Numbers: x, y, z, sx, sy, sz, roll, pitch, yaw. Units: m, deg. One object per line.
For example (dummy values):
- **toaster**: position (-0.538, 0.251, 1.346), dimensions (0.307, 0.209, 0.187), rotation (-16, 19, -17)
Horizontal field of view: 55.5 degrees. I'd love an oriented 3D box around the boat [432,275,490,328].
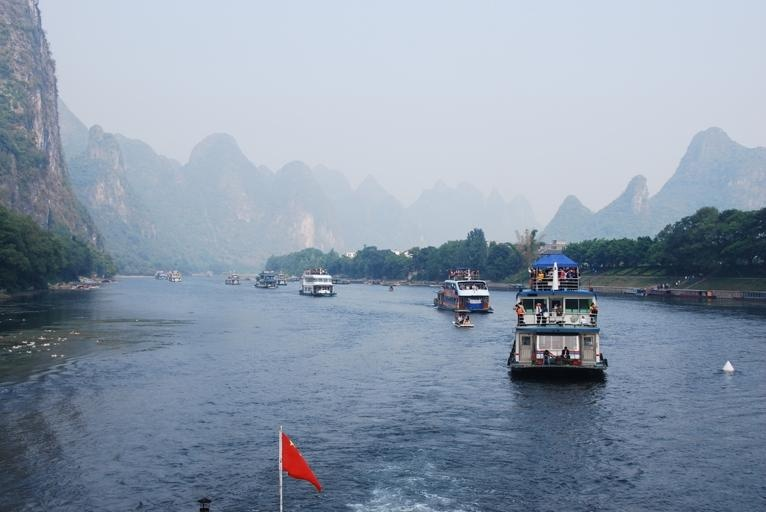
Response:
- **boat**: position (18.170, 9.072, 165.573), dimensions (8.159, 8.025, 19.926), rotation (0, -1, -4)
